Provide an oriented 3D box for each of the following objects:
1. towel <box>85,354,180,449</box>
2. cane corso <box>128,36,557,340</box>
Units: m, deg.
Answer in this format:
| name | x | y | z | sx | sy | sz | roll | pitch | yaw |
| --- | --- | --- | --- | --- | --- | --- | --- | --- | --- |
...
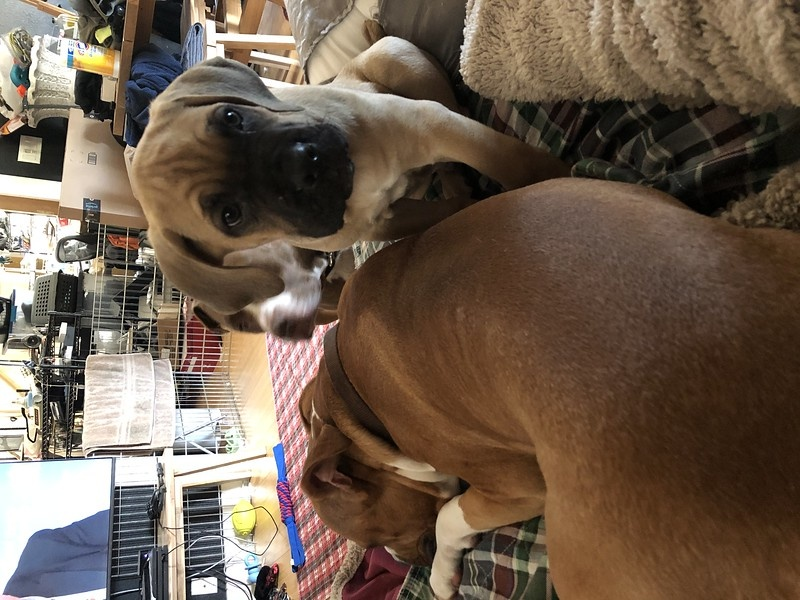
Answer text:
| name | x | y | z | sx | sy | sz | roll | pitch | yaw |
| --- | --- | --- | --- | --- | --- | --- | --- | --- | --- |
| towel | -1.216 | 0.460 | 2.654 | 0.370 | 0.216 | 0.488 | 5 | 34 | -29 |
| cane corso | -0.094 | -0.324 | 1.130 | 0.631 | 0.372 | 0.925 | -13 | 31 | 20 |
